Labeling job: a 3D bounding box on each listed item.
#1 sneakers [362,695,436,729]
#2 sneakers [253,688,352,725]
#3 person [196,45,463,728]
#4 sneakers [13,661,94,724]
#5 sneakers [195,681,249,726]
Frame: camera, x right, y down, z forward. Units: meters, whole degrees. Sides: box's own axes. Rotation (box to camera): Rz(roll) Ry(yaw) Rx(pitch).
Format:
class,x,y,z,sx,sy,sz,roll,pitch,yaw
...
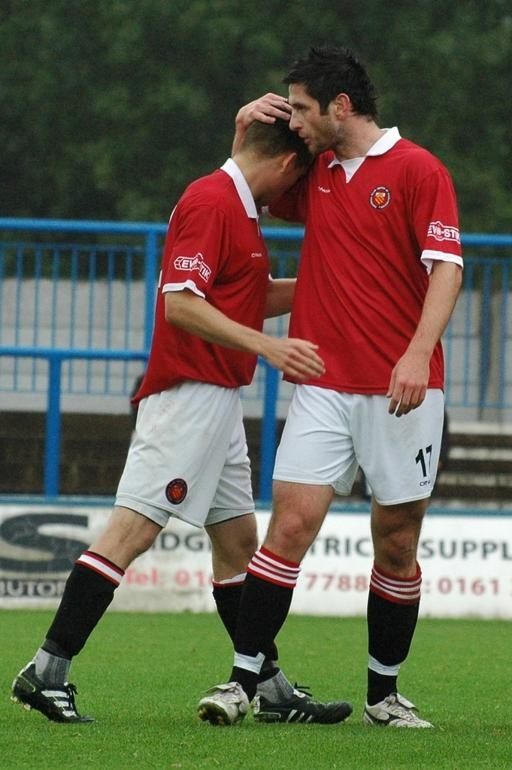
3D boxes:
class,x,y,z,sx,sy,sz,roll,pitch,yaw
sneakers,0.392,0.905,3.435,0.207,0.088,0.073,-1,-3,28
sneakers,0.133,0.922,3.544,0.290,0.114,0.100,0,-11,-2
person,0.231,0.005,3.399,0.606,1.507,0.475,3,1,-1
sneakers,-0.538,0.816,3.278,0.212,0.109,0.088,2,1,-8
sneakers,-0.089,0.835,3.217,0.108,0.082,0.114,3,1,19
